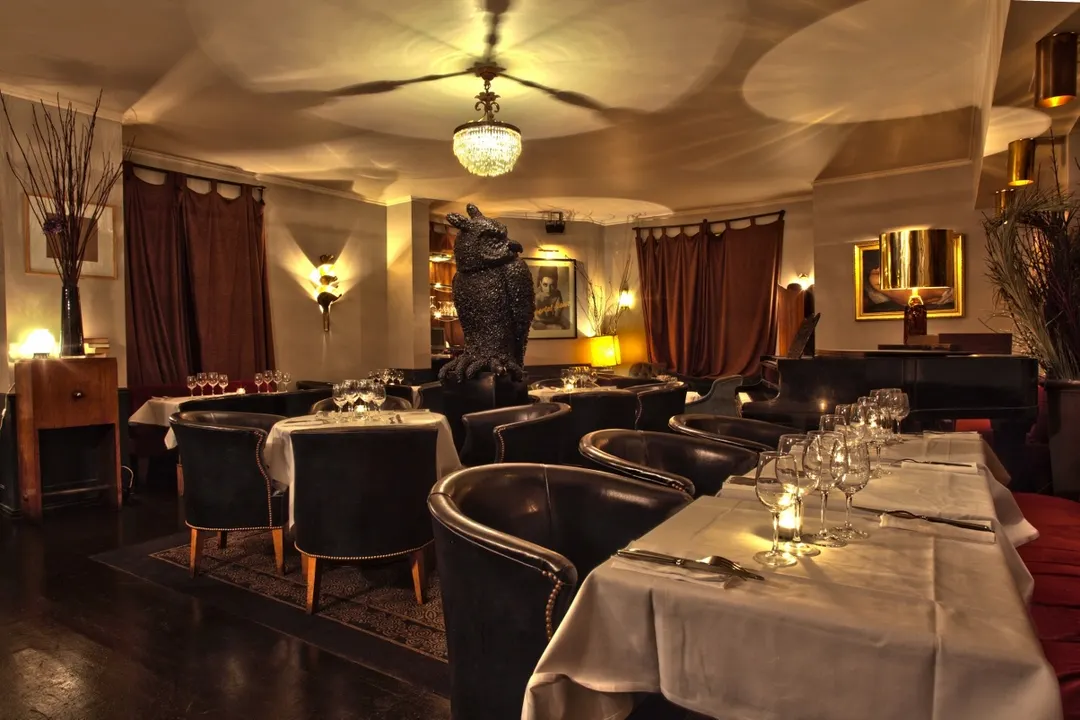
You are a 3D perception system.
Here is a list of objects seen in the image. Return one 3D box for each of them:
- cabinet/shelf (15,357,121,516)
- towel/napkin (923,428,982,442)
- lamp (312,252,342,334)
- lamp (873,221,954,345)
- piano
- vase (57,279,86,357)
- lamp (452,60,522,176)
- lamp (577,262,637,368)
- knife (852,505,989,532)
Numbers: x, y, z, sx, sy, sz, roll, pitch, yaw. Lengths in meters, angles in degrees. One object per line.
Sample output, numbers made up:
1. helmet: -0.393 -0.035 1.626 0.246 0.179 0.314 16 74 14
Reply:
1. cabinet/shelf: -4.208 0.688 6.550 0.454 1.400 0.827 -1 2 35
2. towel/napkin: 2.527 0.460 4.528 0.192 0.050 0.192 1 1 42
3. lamp: -2.833 -0.905 10.045 0.199 0.961 0.411 -3 2 30
4. lamp: 3.119 -0.608 6.131 0.553 0.886 0.557 3 9 41
5. piano: 2.700 0.245 5.422 1.305 0.624 1.317 0 -1 27
6. vase: -4.120 -0.360 6.480 0.181 0.713 0.111 -5 2 -23
7. lamp: -0.489 -2.155 6.936 0.747 1.028 0.730 0 -1 0
8. lamp: 1.190 -0.822 12.946 1.100 1.277 0.249 -4 2 1
9. knife: 1.672 0.691 3.232 0.501 0.034 0.058 2 30 21
